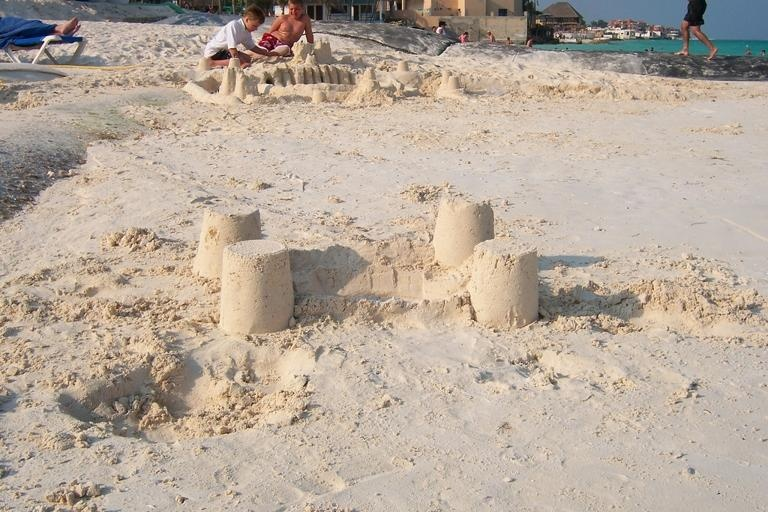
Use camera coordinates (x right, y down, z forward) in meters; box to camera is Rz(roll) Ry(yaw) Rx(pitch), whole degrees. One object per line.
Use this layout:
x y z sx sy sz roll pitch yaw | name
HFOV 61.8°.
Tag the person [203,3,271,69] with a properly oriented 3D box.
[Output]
-3.156 -4.683 13.740 1.243 1.331 1.380 -18 38 -24 | person
